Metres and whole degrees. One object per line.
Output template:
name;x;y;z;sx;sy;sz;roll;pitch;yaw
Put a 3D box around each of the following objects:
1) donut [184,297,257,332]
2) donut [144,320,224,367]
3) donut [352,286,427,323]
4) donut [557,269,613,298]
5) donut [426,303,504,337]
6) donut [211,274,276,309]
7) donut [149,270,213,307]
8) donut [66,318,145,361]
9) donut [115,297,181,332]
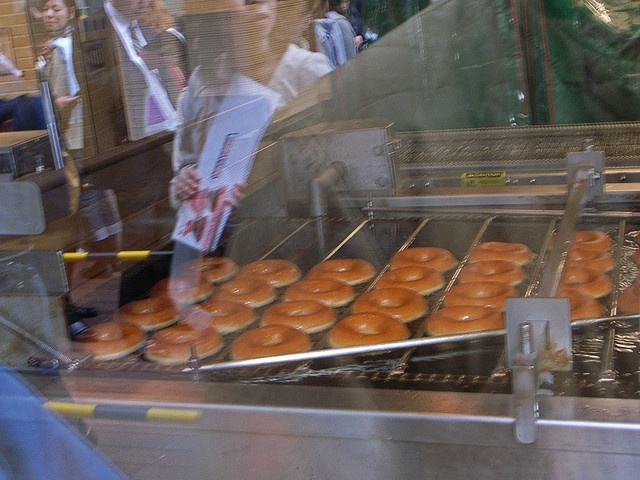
donut;-0.240;0.173;1.189;0.190;0.043;0.145;-4;15;1
donut;-0.252;0.195;0.973;0.152;0.034;0.118;-9;12;-11
donut;0.174;0.156;1.230;0.212;0.050;0.156;1;26;8
donut;0.546;0.083;1.058;0.138;0.024;0.105;0;15;4
donut;0.280;0.152;0.973;0.178;0.040;0.143;-5;6;13
donut;-0.181;0.139;1.329;0.147;0.033;0.112;-5;12;-8
donut;-0.306;0.112;1.159;0.133;0.033;0.125;-16;21;-37
donut;-0.387;0.183;0.962;0.123;0.027;0.110;13;22;29
donut;-0.353;0.151;1.089;0.110;0.030;0.110;20;34;38
